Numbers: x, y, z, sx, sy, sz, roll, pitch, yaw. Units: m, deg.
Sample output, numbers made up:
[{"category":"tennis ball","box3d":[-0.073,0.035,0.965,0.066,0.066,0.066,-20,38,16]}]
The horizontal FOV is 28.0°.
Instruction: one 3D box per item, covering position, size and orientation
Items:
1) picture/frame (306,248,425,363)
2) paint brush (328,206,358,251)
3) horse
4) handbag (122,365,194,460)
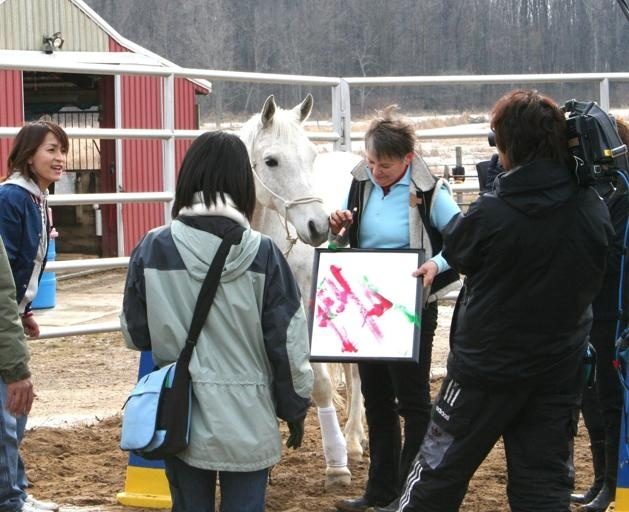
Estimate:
[{"category":"picture/frame","box3d":[0.373,0.364,9.369,0.829,0.990,0.048,1,-31,6]},{"category":"paint brush","box3d":[0.222,-0.199,9.608,0.067,0.335,0.052,21,-8,38]},{"category":"horse","box3d":[-0.142,0.226,10.792,1.591,3.019,1.419,1,3,10]},{"category":"handbag","box3d":[-1.049,1.082,8.599,0.407,0.820,0.534,15,-17,-41]}]
